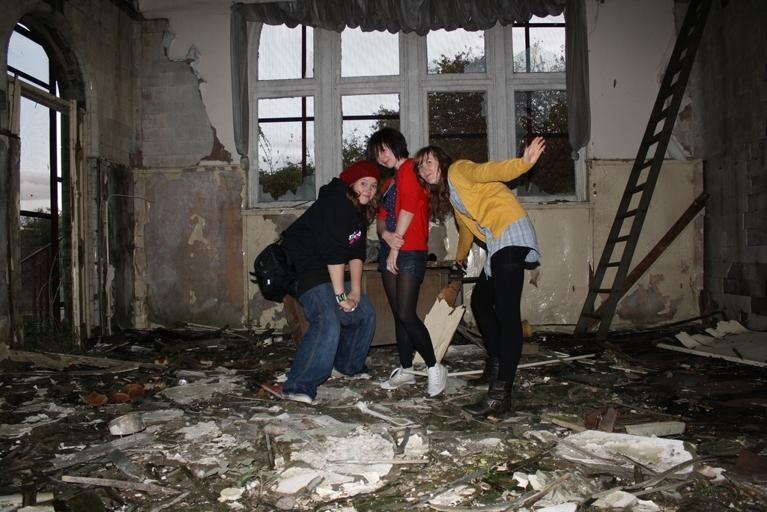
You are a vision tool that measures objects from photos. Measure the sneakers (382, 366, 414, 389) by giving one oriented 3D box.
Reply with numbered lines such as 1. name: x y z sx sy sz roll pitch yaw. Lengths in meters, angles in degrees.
1. sneakers: 0.151 1.092 5.187 0.356 0.214 0.132 -1 8 -12

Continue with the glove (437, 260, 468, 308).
1. glove: 0.716 0.296 6.115 0.175 0.143 0.595 32 43 -5

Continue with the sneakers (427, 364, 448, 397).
1. sneakers: 0.462 1.054 4.974 0.123 0.146 0.318 -28 13 32

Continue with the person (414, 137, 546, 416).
1. person: 0.893 0.176 4.777 0.713 2.177 1.033 -2 4 -36

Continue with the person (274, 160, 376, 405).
1. person: -0.475 0.186 5.102 0.920 2.068 0.555 -1 4 -24

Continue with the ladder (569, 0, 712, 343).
1. ladder: 3.141 -1.112 7.002 1.733 4.121 0.746 -1 4 -26

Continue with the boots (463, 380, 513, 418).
1. boots: 0.850 1.128 4.614 0.430 0.297 0.161 0 11 -20

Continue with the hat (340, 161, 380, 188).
1. hat: -0.193 -0.724 5.124 0.282 0.113 0.226 -8 -1 41

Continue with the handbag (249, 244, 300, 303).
1. handbag: -0.968 0.113 5.263 0.440 0.461 0.179 -28 19 6
